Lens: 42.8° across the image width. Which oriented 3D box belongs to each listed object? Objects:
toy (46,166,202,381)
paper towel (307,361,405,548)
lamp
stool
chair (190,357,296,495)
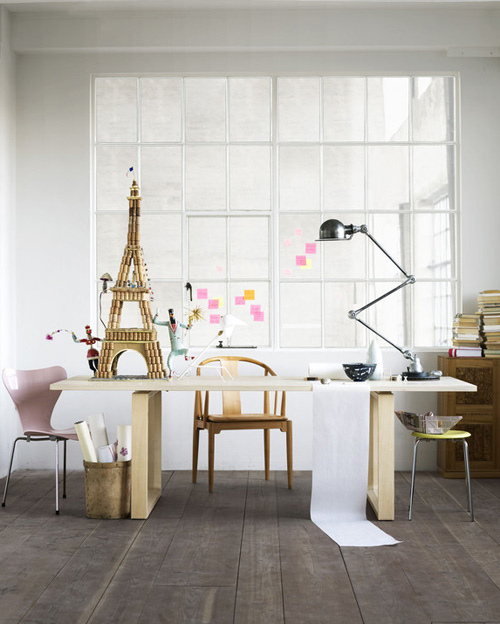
[{"bbox_3d":[-0.733,-0.239,3.973,1.017,1.359,1.153,-1,2,-18],"label":"toy"},{"bbox_3d":[0.478,0.710,3.121,0.379,0.683,0.620,0,2,5],"label":"paper towel"},{"bbox_3d":[0.794,-0.088,4.023,0.663,0.936,0.961,0,2,9],"label":"lamp"},{"bbox_3d":[0.983,0.874,3.344,0.321,0.467,0.315,0,-13,11],"label":"stool"},{"bbox_3d":[-0.083,0.653,3.977,0.708,1.153,0.756,2,-21,-7],"label":"chair"}]
